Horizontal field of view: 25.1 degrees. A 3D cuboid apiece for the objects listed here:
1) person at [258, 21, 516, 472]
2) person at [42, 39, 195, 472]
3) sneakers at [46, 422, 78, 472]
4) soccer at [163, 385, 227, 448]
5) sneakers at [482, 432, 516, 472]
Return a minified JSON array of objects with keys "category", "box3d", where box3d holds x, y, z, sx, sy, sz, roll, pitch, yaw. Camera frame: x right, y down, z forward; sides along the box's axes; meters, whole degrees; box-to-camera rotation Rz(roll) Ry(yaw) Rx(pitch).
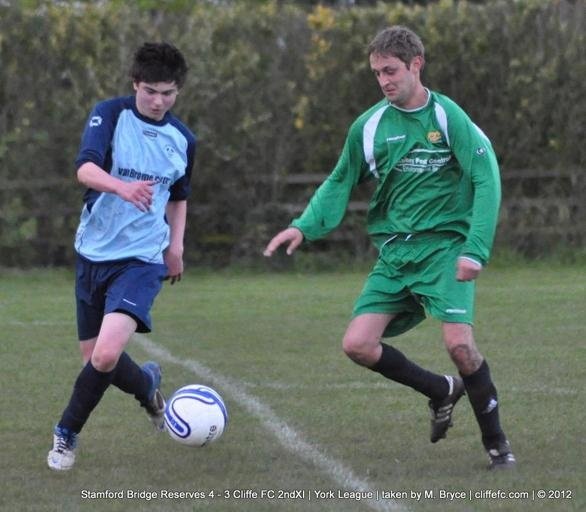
[{"category":"person","box3d":[0.730,-0.115,7.717,1.407,2.423,0.390,8,7,20]},{"category":"person","box3d":[-0.979,-0.036,7.728,0.747,2.446,0.644,5,7,-14]},{"category":"sneakers","box3d":[-1.336,1.063,7.579,0.159,0.232,0.219,5,6,-8]},{"category":"soccer","box3d":[-0.591,0.901,7.766,0.371,0.313,0.345,14,14,-28]},{"category":"sneakers","box3d":[1.192,1.095,7.552,0.117,0.156,0.243,-25,19,10]}]
